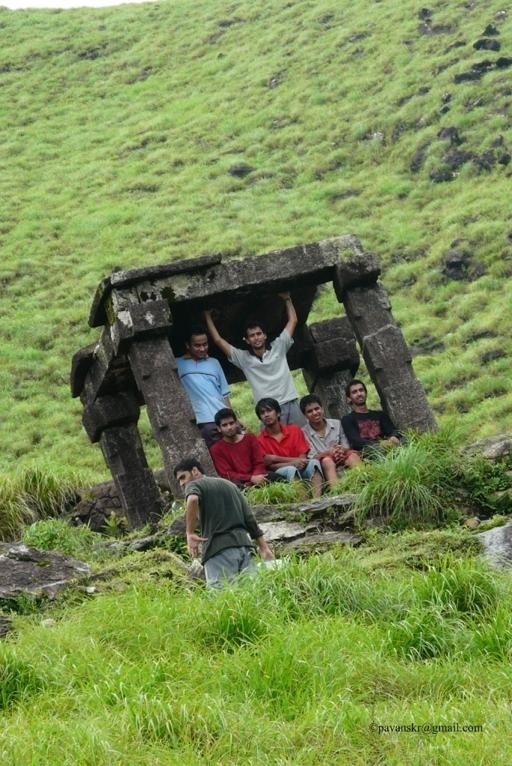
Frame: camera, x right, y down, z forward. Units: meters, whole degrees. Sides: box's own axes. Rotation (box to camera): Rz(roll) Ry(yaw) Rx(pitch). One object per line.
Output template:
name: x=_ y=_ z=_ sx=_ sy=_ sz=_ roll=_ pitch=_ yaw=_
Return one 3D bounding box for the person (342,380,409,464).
person: x=1.163 y=0.363 z=7.990 sx=0.584 sy=0.780 sz=0.712 roll=-5 pitch=-5 yaw=-33

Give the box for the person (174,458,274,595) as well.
person: x=-0.279 y=0.928 z=5.368 sx=0.472 sy=0.856 sz=0.789 roll=-20 pitch=4 yaw=14

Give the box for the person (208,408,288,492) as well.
person: x=-0.125 y=0.645 z=7.484 sx=0.602 sy=0.804 sz=0.740 roll=-13 pitch=3 yaw=-14

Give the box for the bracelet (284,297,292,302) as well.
bracelet: x=0.347 y=-0.935 z=8.841 sx=0.065 sy=0.028 sz=0.078 roll=1 pitch=-19 yaw=0
